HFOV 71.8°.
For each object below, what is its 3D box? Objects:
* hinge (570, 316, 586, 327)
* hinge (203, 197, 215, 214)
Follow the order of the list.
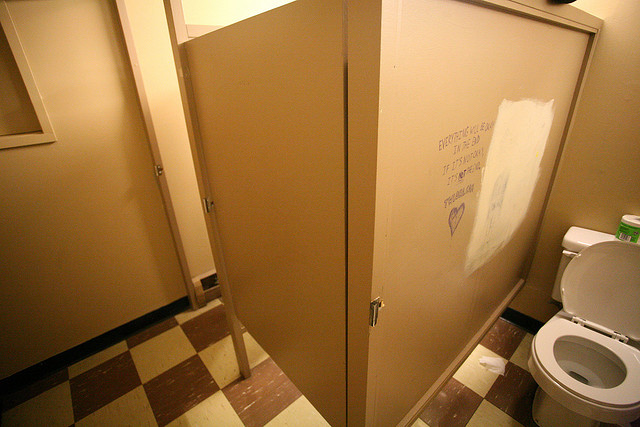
[{"bbox_3d":[1.730,0.716,2.954,0.065,0.021,0.045,42,6,12],"label":"hinge"},{"bbox_3d":[-0.680,-0.050,2.678,0.065,0.092,0.031,6,27,21],"label":"hinge"}]
